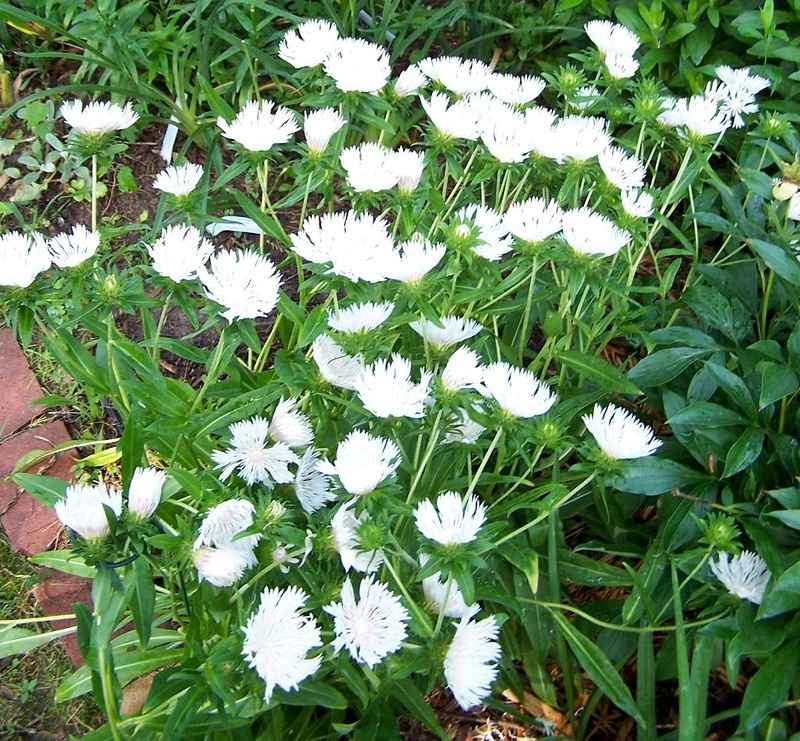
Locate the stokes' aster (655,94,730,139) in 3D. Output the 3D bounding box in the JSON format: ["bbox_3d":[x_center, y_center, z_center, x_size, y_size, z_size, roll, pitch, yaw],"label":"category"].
[{"bbox_3d":[0.803,-0.692,2.161,0.143,0.067,0.155,-15,56,-5],"label":"stokes' aster"}]
